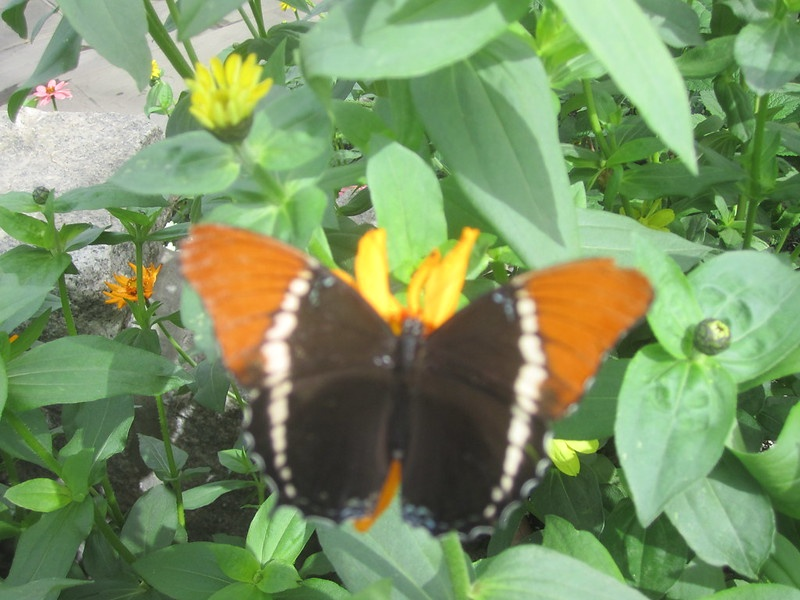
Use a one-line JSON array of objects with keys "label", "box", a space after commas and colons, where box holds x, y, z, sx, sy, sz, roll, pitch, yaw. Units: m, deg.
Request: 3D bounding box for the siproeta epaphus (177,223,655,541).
[{"label": "siproeta epaphus", "box": [0.002, 0.113, 0.991, 0.590, 0.423, 0.076, 5, 20, -4]}]

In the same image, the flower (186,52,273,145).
[{"label": "flower", "box": [-0.216, -0.258, 0.988, 0.112, 0.085, 0.105, -4, 66, 8]}]
